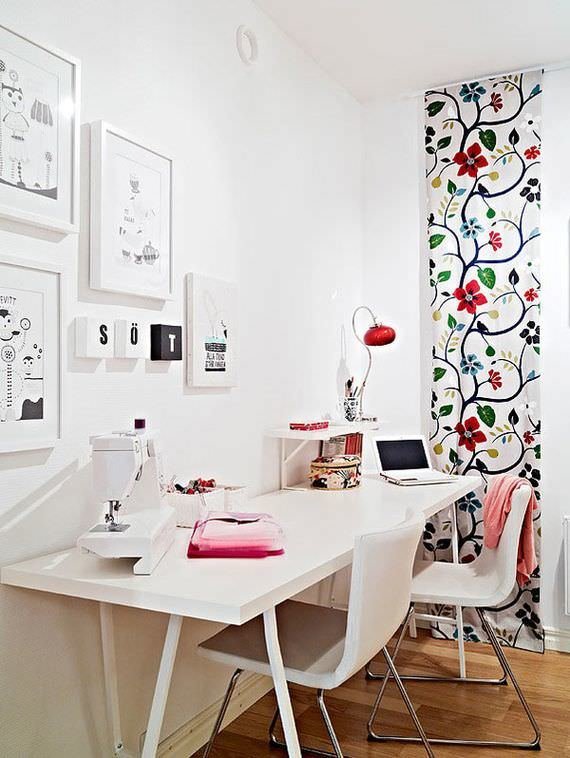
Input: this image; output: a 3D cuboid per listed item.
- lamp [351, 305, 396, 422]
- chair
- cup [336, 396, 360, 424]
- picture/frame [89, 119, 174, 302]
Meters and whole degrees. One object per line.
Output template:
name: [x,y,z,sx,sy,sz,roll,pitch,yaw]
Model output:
lamp: [0.450,-0.101,2.895,0.232,0.610,0.404,0,-4,10]
chair: [0.275,0.748,1.761,0.365,0.585,0.847,2,-2,33]
cup: [0.289,0.140,2.724,0.128,0.135,0.084,-5,-8,36]
picture/frame: [-0.414,-0.430,1.542,0.046,0.439,0.319,-1,-4,22]
